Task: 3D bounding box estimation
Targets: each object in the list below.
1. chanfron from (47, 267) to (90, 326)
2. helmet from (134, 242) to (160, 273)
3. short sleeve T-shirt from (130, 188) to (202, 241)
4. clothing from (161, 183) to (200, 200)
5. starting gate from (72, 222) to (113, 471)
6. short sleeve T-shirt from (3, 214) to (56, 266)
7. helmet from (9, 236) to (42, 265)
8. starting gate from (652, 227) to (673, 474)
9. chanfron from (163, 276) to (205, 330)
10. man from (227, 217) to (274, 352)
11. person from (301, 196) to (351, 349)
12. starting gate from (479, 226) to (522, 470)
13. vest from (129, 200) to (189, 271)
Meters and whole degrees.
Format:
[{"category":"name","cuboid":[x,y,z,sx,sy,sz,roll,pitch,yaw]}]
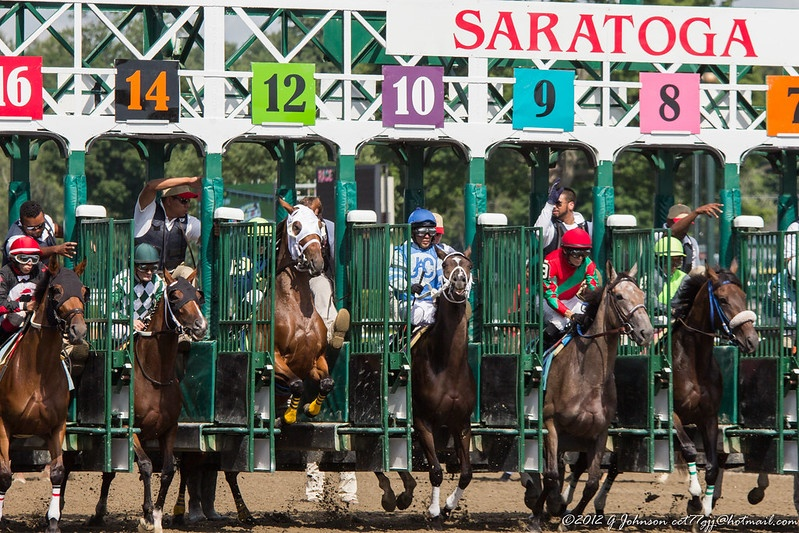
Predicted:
[{"category":"chanfron","cuboid":[-3.415,0.293,17.037,0.386,0.542,0.326,0,0,-14]},{"category":"helmet","cuboid":[-2.758,-0.107,18.001,0.226,0.243,0.255,2,-5,-32]},{"category":"short sleeve T-shirt","cuboid":[-2.663,-0.576,18.732,0.377,0.556,0.966,0,-1,42]},{"category":"clothing","cuboid":[-2.465,-0.829,18.583,0.252,0.165,0.183,-5,5,8]},{"category":"starting gate","cuboid":[-3.190,0.888,17.625,0.582,3.083,0.317,2,24,-9]},{"category":"short sleeve T-shirt","cuboid":[-4.096,-0.361,18.138,0.422,0.896,0.567,3,8,4]},{"category":"helmet","cuboid":[-3.954,-0.164,17.459,0.242,0.287,0.320,3,-5,-24]},{"category":"starting gate","cuboid":[3.014,0.934,18.500,0.358,2.623,1.339,0,-1,13]},{"category":"chanfron","cuboid":[-2.301,0.381,17.500,0.343,0.614,0.265,-5,-13,-19]},{"category":"man","cuboid":[-1.793,0.117,18.453,0.356,1.098,1.760,5,-2,-8]},{"category":"person","cuboid":[-0.828,0.142,18.402,0.455,1.628,0.922,-2,-24,-23]},{"category":"starting gate","cuboid":[1.120,0.744,18.195,0.215,2.376,0.827,1,-1,-32]},{"category":"vest","cuboid":[-2.717,-0.385,18.835,0.465,0.926,0.633,7,-8,-20]}]
